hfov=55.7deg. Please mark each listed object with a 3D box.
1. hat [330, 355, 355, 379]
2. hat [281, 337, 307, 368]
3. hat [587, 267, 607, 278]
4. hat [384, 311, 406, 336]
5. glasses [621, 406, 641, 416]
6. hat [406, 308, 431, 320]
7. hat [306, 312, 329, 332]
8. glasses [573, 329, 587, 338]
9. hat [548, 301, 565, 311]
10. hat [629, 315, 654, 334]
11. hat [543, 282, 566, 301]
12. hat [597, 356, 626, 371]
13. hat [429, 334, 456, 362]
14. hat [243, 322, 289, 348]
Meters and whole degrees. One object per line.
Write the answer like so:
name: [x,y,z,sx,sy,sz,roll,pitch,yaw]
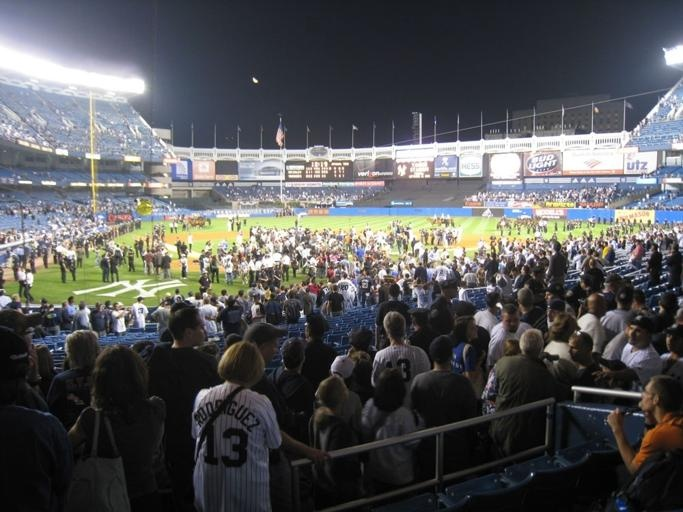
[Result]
hat: [0.030,1.450,8.300,0.297,0.277,0.361,-1,2,-2]
hat: [-0.557,1.264,7.922,0.273,0.400,0.392,5,-23,10]
hat: [5.443,0.359,13.788,0.340,0.128,0.363,-2,8,-19]
hat: [0.710,0.910,8.833,0.258,0.345,0.338,-5,21,5]
glasses: [3.134,1.679,6.975,0.203,0.065,0.085,-1,2,1]
hat: [1.208,0.923,9.926,0.264,0.188,0.369,-1,2,1]
hat: [-0.333,0.954,9.125,0.226,0.298,0.297,0,11,-2]
glasses: [3.123,1.022,8.469,0.142,0.073,0.144,0,1,-13]
hat: [3.398,0.794,10.185,0.249,0.175,0.413,-1,2,17]
hat: [3.959,0.895,8.518,0.282,0.146,0.212,23,18,16]
hat: [3.826,0.660,11.583,0.327,0.346,0.260,23,16,32]
hat: [3.490,1.393,8.273,0.345,0.138,0.434,-1,2,14]
hat: [1.197,1.117,7.721,0.256,0.312,0.235,-1,2,7]
hat: [-0.928,0.942,7.747,0.569,0.255,0.303,-3,3,-36]
